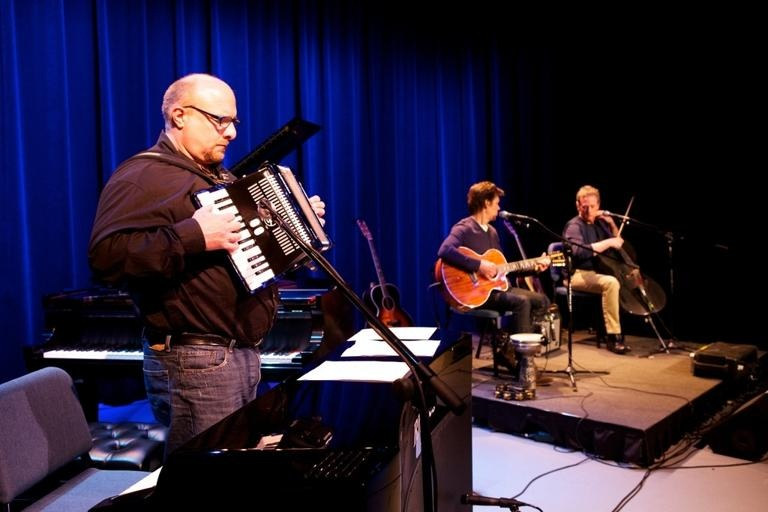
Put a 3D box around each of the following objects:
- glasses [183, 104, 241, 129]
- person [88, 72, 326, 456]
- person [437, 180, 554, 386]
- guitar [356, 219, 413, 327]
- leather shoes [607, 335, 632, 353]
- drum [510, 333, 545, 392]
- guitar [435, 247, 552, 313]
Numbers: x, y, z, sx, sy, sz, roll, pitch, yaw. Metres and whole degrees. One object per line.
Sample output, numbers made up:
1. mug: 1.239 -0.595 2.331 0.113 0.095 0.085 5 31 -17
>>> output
1. glasses: -0.987 -0.816 3.951 0.176 0.049 0.172 24 -2 -20
2. person: -1.137 0.025 3.893 1.000 2.155 0.420 0 6 -11
3. person: 1.051 0.254 6.561 0.934 2.139 0.302 0 -9 -36
4. guitar: 0.008 0.166 7.159 0.449 1.072 0.871 -1 6 -18
5. leather shoes: 2.534 0.956 7.311 0.113 0.175 0.359 -4 -11 -6
6. drum: 1.269 0.932 6.033 0.273 0.568 0.641 2 6 12
7. guitar: 1.004 0.230 6.643 0.974 0.634 0.374 -1 6 -15
